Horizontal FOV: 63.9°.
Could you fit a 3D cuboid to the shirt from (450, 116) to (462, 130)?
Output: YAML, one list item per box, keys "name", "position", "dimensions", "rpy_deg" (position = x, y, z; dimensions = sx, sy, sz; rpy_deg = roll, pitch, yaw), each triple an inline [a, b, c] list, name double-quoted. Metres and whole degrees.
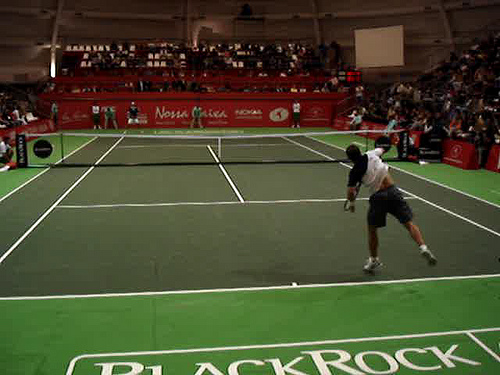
- name: "shirt"
  position: [9.043, -2.644, 17.433]
  dimensions: [0.192, 0.569, 0.570]
  rpy_deg: [-5, 41, 9]

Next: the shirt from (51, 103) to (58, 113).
- name: "shirt"
  position: [-14.829, -5.928, 30.398]
  dimensions: [0.512, 0.967, 0.631]
  rpy_deg: [0, 3, -23]

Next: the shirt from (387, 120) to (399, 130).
- name: "shirt"
  position: [7.626, -3.345, 21.493]
  dimensions: [0.260, 0.664, 0.482]
  rpy_deg: [22, -10, -18]

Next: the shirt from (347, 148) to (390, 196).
- name: "shirt"
  position: [1.982, -0.228, 6.774]
  dimensions: [0.746, 0.739, 0.341]
  rpy_deg: [-4, 14, -17]

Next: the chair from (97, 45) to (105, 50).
- name: "chair"
  position: [-14.163, -13.270, 38.270]
  dimensions: [0.578, 0.473, 0.606]
  rpy_deg: [1, 13, -2]

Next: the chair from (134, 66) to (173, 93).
- name: "chair"
  position: [-8.107, -9.027, 33.873]
  dimensions: [3.000, 3.055, 1.672]
  rpy_deg: [-1, -2, -7]

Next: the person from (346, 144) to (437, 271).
- name: "person"
  position: [2.204, 0.425, 6.798]
  dimensions: [1.192, 2.171, 0.466]
  rpy_deg: [4, 13, 15]

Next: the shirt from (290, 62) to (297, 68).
- name: "shirt"
  position: [4.001, -11.285, 37.166]
  dimensions: [0.790, 0.556, 0.411]
  rpy_deg: [-10, 17, -36]

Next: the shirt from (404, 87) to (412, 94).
- name: "shirt"
  position: [11.174, -6.807, 28.491]
  dimensions: [0.555, 0.575, 0.610]
  rpy_deg: [-4, 6, -33]

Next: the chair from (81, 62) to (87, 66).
- name: "chair"
  position: [-14.990, -11.132, 36.416]
  dimensions: [0.285, 0.315, 0.543]
  rpy_deg: [3, 2, -10]

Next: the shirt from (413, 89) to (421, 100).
- name: "shirt"
  position: [11.010, -6.046, 26.450]
  dimensions: [0.385, 0.588, 1.111]
  rpy_deg: [5, 15, 21]

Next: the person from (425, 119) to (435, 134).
- name: "person"
  position: [8.006, -2.721, 17.905]
  dimensions: [0.356, 0.544, 1.751]
  rpy_deg: [6, 15, 23]

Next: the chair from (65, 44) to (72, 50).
- name: "chair"
  position: [-17.327, -13.376, 38.304]
  dimensions: [0.615, 0.647, 0.631]
  rpy_deg: [3, 17, -1]

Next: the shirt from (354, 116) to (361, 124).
- name: "shirt"
  position: [6.914, -4.332, 25.809]
  dimensions: [0.599, 0.500, 0.343]
  rpy_deg: [-12, 22, -41]

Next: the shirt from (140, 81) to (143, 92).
- name: "shirt"
  position: [-8.834, -8.217, 32.707]
  dimensions: [0.202, 0.773, 0.341]
  rpy_deg: [-4, 14, -16]

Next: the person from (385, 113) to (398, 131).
- name: "person"
  position: [7.812, -3.562, 22.109]
  dimensions: [0.529, 0.827, 2.028]
  rpy_deg: [0, 26, 17]

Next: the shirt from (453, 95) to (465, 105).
- name: "shirt"
  position: [10.607, -4.400, 20.320]
  dimensions: [0.434, 0.447, 2.076]
  rpy_deg: [5, 15, 22]

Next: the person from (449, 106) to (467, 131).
- name: "person"
  position: [9.602, -3.179, 18.509]
  dimensions: [0.660, 0.941, 3.779]
  rpy_deg: [6, 15, 25]
